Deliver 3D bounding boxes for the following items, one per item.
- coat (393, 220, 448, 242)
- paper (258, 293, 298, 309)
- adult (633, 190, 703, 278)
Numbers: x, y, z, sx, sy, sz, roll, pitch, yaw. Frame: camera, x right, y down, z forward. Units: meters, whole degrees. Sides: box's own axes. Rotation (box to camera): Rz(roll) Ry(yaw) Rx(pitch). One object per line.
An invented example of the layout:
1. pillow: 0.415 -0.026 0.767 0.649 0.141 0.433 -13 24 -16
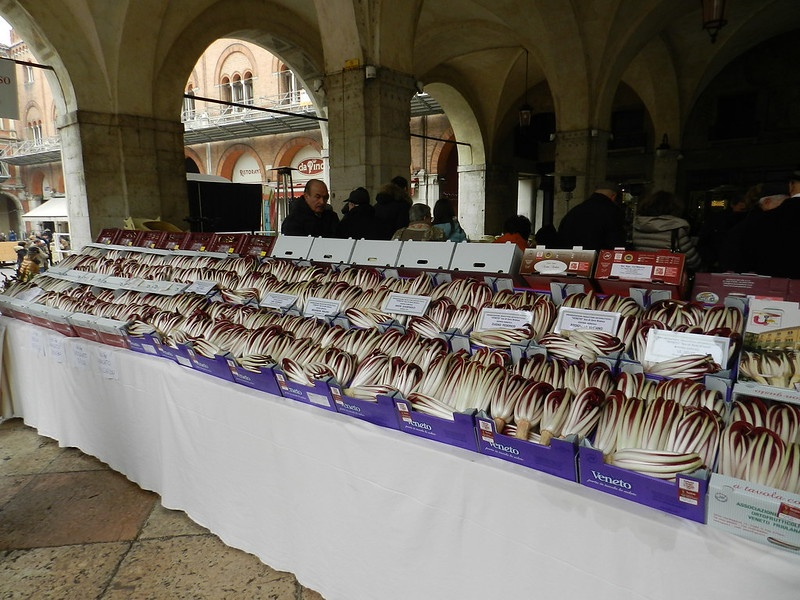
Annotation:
1. coat: 0.201 -0.624 4.822 0.524 0.165 0.277 -3 -4 15
2. paper: -0.755 0.004 3.283 0.175 0.042 0.119 4 52 22
3. adult: 2.299 -0.563 4.619 0.564 0.830 0.534 12 37 44
